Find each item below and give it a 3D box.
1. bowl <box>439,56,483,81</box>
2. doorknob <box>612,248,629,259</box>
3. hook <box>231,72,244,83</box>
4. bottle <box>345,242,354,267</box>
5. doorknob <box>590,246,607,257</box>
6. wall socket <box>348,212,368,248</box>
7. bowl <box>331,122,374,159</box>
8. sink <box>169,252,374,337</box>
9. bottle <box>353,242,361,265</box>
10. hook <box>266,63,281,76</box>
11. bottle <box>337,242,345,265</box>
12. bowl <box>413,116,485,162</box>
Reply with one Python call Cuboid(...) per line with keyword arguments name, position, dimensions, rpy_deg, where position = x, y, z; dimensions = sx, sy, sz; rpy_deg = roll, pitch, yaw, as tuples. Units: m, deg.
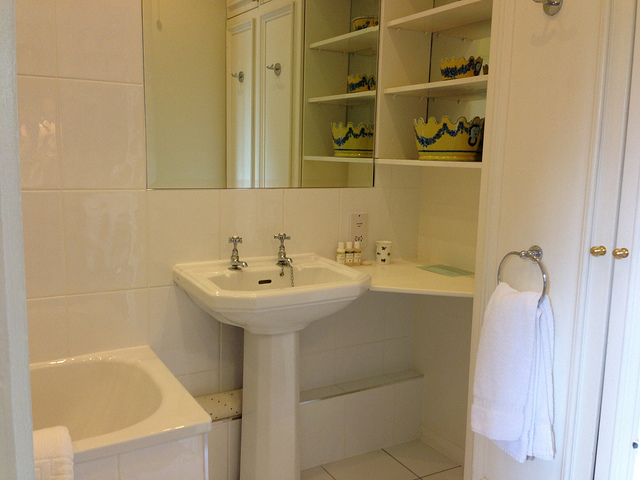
Cuboid(name="bowl", position=(0.600, -0.728, 2.324), dimensions=(0.119, 0.064, 0.129), rpy_deg=(1, 9, 0))
Cuboid(name="doorknob", position=(0.972, 0.044, 1.770), dimensions=(0.046, 0.036, 0.019), rpy_deg=(3, 9, 32))
Cuboid(name="hook", position=(-0.345, -0.684, 2.284), dimensions=(0.030, 0.046, 0.042), rpy_deg=(10, 16, 32))
Cuboid(name="bottle", position=(0.140, 0.069, 2.635), dimensions=(0.051, 0.116, 0.022), rpy_deg=(-4, 8, -17))
Cuboid(name="doorknob", position=(0.921, 0.036, 1.810), dimensions=(0.032, 0.033, 0.035), rpy_deg=(11, -8, -33))
Cuboid(name="wall socket", position=(0.188, -0.047, 2.677), dimensions=(0.115, 0.177, 0.030), rpy_deg=(-8, 10, -37))
Cuboid(name="bowl", position=(0.157, -0.463, 2.608), dimensions=(0.161, 0.123, 0.165), rpy_deg=(1, 6, 0))
Cuboid(name="sink", position=(-0.187, 0.253, 2.248), dimensions=(0.757, 0.341, 0.482), rpy_deg=(-6, 9, -29))
Cuboid(name="bottle", position=(0.175, 0.065, 2.650), dimensions=(0.041, 0.108, 0.016), rpy_deg=(-6, 9, -28))
Cuboid(name="hook", position=(-0.200, -0.742, 2.372), dimensions=(0.040, 0.061, 0.055), rpy_deg=(15, 18, 39))
Cuboid(name="bottle", position=(0.100, 0.062, 2.629), dimensions=(0.034, 0.101, 0.033), rpy_deg=(-2, 8, 0))
Cuboid(name="bowl", position=(0.571, -0.451, 2.470), dimensions=(0.323, 0.200, 0.343), rpy_deg=(1, 9, 0))
